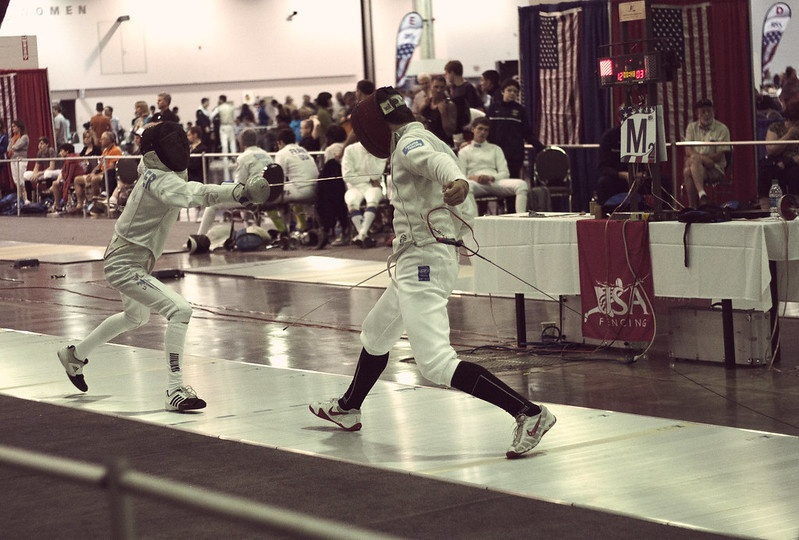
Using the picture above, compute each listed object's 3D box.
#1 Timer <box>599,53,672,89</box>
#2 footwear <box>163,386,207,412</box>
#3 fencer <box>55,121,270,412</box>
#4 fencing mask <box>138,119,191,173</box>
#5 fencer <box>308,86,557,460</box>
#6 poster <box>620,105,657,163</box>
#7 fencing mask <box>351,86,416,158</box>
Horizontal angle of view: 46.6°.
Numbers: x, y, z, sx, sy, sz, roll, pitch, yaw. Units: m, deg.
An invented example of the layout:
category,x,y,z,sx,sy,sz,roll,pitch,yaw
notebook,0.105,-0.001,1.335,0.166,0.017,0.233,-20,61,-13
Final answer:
category,x,y,z,sx,sy,sz,roll,pitch,yaw
Timer,1.882,-1.613,7.407,0.625,0.249,0.290,1,10,20
footwear,-1.408,0.856,6.053,0.258,0.123,0.136,-4,-4,36
fencer,-1.567,-0.044,6.240,1.675,1.891,0.593,3,11,25
fencing mask,-1.560,-0.816,6.146,0.306,0.338,0.223,-5,10,-17
fencer,0.139,-0.001,5.577,1.524,1.935,0.677,0,3,3
poster,1.859,-1.041,7.224,0.318,0.425,0.184,3,11,27
fencing mask,-0.087,-0.924,5.438,0.275,0.306,0.391,-18,-21,-23
